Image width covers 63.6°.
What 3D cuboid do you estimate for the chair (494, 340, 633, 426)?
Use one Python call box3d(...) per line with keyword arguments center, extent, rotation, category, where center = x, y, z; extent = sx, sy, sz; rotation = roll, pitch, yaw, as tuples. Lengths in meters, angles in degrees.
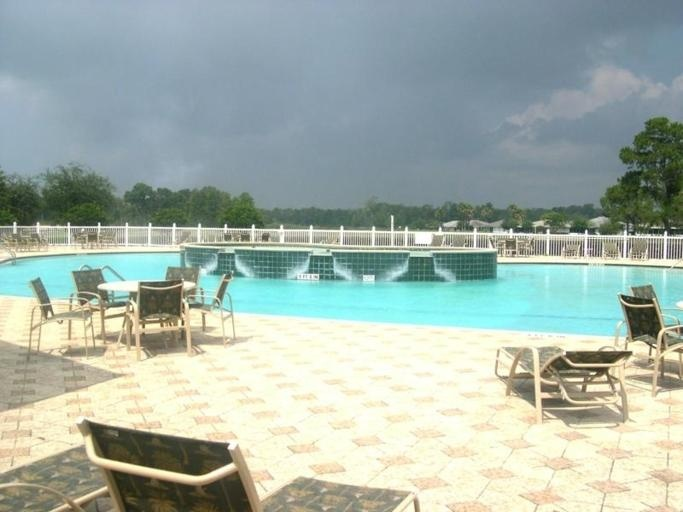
box3d(center=(2.066, 1.120, 5.247), extent=(1.139, 0.651, 1.326), rotation=(-4, 0, 13), category="chair")
